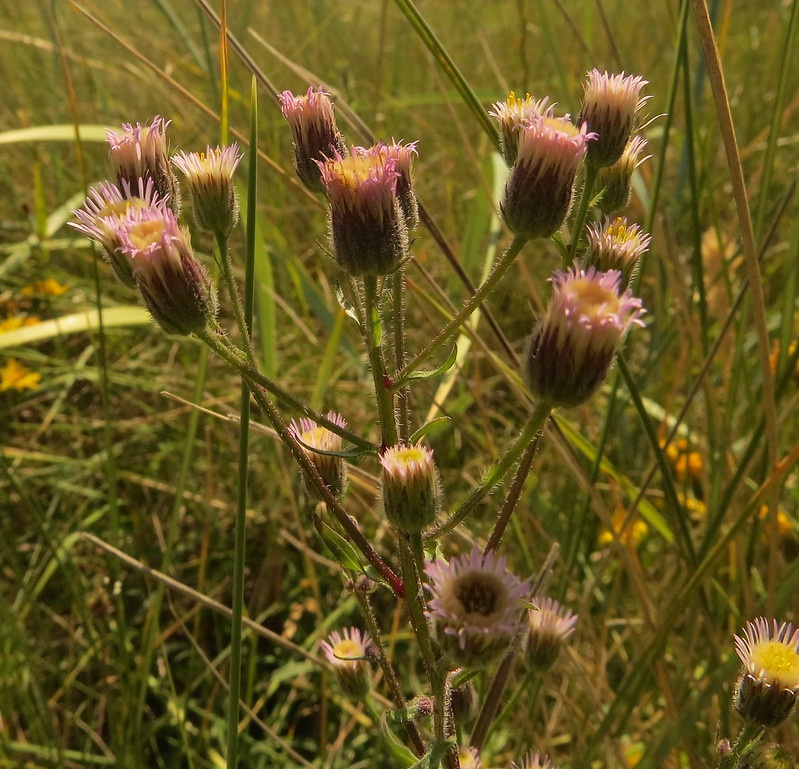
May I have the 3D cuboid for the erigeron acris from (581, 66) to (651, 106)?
[{"bbox_3d":[0.462,-0.636,2.056,0.098,0.075,0.117,-1,33,-30],"label":"erigeron acris"}]

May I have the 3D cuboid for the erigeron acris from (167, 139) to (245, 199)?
[{"bbox_3d":[-0.411,-0.459,2.035,0.108,0.136,0.136,-6,16,1],"label":"erigeron acris"}]

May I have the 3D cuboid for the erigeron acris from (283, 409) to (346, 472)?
[{"bbox_3d":[-0.183,0.096,2.134,0.094,0.141,0.072,3,36,7],"label":"erigeron acris"}]

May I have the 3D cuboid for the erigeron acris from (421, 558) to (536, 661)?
[{"bbox_3d":[0.136,0.399,1.733,0.143,0.157,0.201,9,54,3],"label":"erigeron acris"}]
